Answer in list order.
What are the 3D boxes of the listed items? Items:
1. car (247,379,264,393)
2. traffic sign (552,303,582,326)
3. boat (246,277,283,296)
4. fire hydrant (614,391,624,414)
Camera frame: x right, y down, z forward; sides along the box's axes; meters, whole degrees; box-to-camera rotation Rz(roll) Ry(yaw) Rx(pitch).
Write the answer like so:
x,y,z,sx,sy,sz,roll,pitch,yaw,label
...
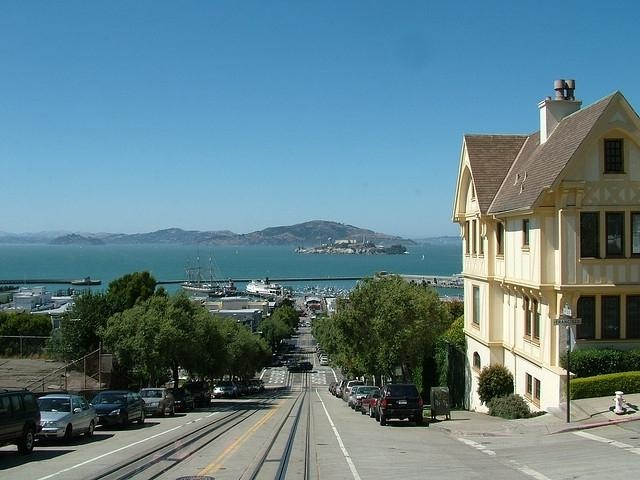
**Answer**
x,y,z,sx,sy,sz,roll,pitch,yaw,label
-7.663,17.675,87.247,1.298,1.168,2.298,0,-15,-2,car
11.726,3.501,33.892,0.182,0.824,1.084,-2,1,-27,traffic sign
-22.400,19.051,292.790,12.252,8.969,62.873,0,-5,-5,boat
13.568,7.306,32.570,0.418,0.983,1.171,-2,-5,24,fire hydrant
